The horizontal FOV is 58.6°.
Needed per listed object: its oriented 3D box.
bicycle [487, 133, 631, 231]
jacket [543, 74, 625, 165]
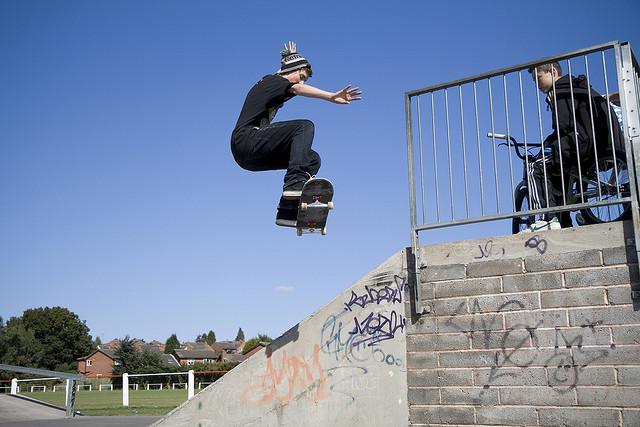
[{"bbox_3d":[3.087,-0.393,6.966,1.061,1.142,1.689,-18,5,-12],"label":"bicycle"},{"bbox_3d":[3.671,-1.328,8.143,1.128,1.240,0.862,-11,3,-42],"label":"jacket"}]
